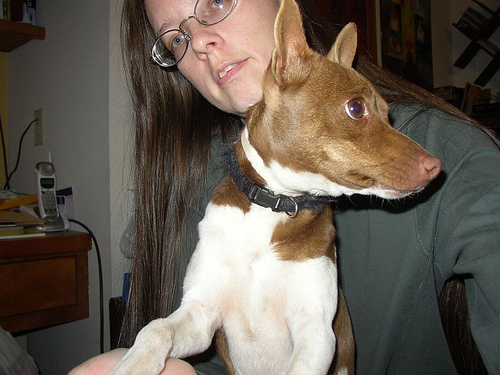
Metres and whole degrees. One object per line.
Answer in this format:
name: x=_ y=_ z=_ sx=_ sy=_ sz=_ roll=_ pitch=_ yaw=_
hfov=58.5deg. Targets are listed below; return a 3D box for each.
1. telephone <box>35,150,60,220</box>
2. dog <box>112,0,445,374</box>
telephone: x=-1.299 y=0.018 z=2.866 sx=0.118 sy=0.056 sz=0.567 roll=4 pitch=57 yaw=-39
dog: x=0.095 y=0.055 z=1.616 sx=1.028 sy=1.365 sz=0.565 roll=-5 pitch=18 yaw=-17
